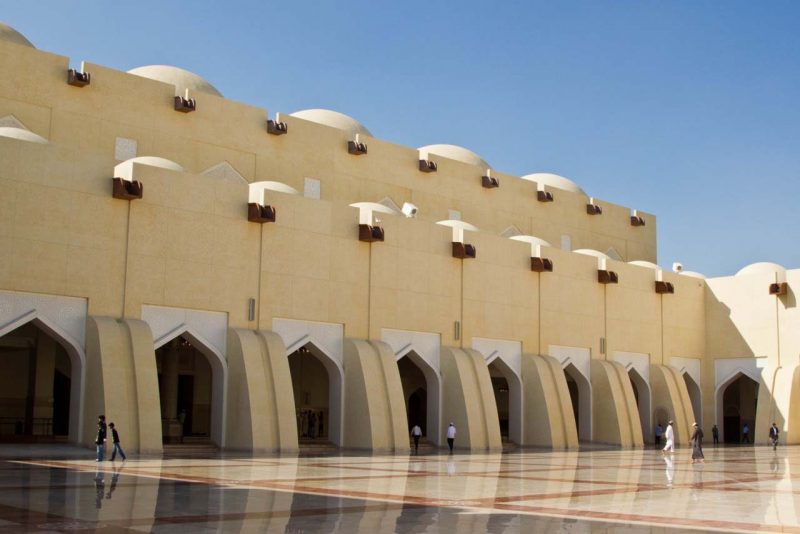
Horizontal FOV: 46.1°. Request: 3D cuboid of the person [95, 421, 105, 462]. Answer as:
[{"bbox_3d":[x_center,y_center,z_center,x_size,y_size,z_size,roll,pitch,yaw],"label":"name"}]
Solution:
[{"bbox_3d":[-8.222,4.722,25.919,0.205,1.280,0.894,4,-16,-17],"label":"person"}]
